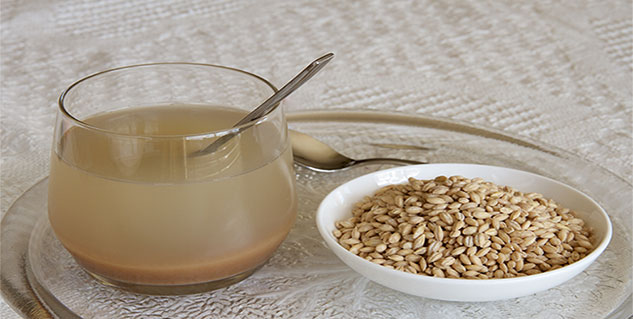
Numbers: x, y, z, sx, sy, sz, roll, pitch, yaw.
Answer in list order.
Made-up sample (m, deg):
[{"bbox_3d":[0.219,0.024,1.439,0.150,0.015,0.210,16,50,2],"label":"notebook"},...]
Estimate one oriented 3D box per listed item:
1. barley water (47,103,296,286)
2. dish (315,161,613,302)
[{"bbox_3d":[-0.324,0.107,1.209,0.528,0.245,0.449,-2,14,8],"label":"barley water"},{"bbox_3d":[0.358,0.165,1.136,0.497,0.087,0.404,-3,18,-6],"label":"dish"}]
